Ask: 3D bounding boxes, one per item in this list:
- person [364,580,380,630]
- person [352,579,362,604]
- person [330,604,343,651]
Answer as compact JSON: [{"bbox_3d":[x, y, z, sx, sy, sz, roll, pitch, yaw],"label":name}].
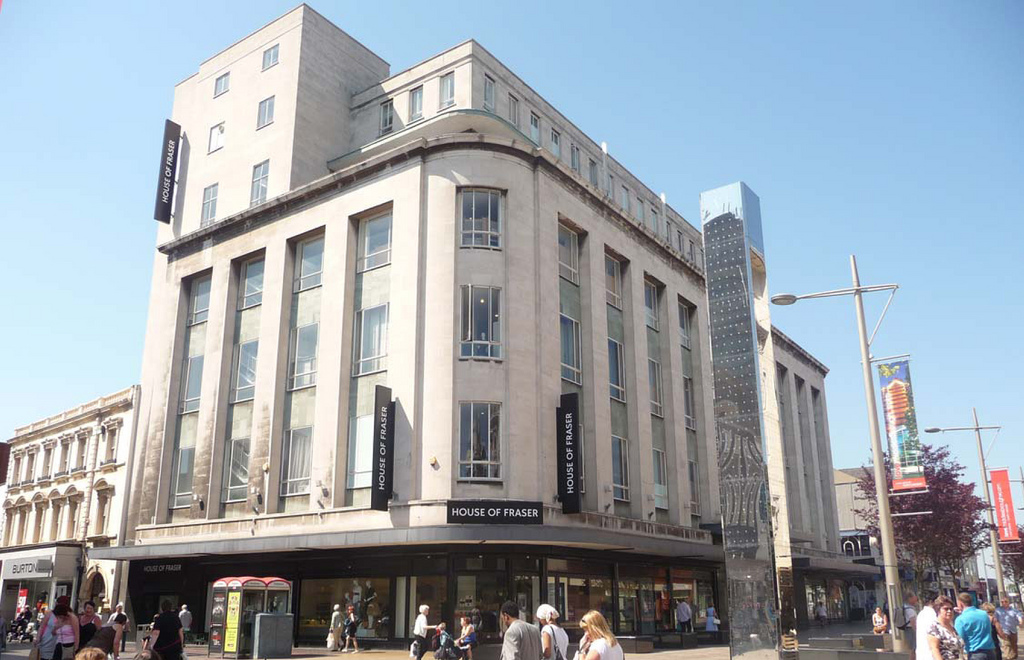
[{"bbox_3d":[-6.900,13.548,36.877,0.887,2.178,0.393,-20,-28,33],"label":"person"},{"bbox_3d":[-7.703,13.032,37.395,0.643,1.126,0.218,-17,-27,28],"label":"person"},{"bbox_3d":[-8.542,14.507,36.668,0.674,2.162,1.279,3,-24,-13],"label":"person"}]
